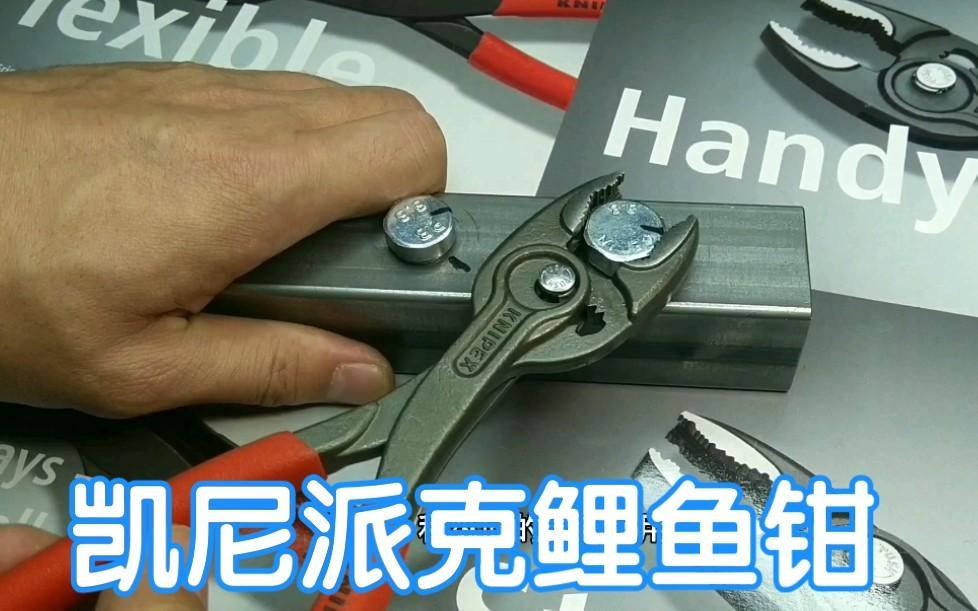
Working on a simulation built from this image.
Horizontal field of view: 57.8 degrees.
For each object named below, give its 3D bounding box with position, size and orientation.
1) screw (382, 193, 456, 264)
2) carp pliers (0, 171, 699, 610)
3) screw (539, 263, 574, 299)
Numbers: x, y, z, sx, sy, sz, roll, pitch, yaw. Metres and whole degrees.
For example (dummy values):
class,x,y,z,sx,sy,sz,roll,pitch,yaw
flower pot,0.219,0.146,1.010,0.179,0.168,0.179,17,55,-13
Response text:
class,x,y,z,sx,sy,sz,roll,pitch,yaw
screw,-0.081,-0.087,1.031,0.081,0.032,0.083,-19,52,-15
carp pliers,-0.169,0.099,0.979,0.648,0.054,0.166,-41,83,-7
screw,0.073,-0.025,0.956,0.035,0.017,0.036,5,68,3
